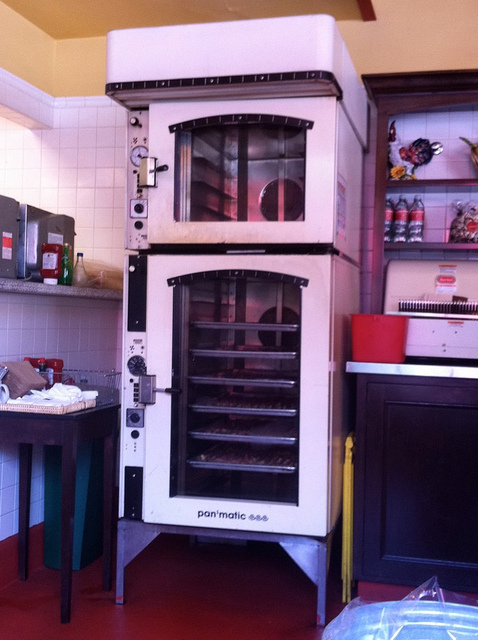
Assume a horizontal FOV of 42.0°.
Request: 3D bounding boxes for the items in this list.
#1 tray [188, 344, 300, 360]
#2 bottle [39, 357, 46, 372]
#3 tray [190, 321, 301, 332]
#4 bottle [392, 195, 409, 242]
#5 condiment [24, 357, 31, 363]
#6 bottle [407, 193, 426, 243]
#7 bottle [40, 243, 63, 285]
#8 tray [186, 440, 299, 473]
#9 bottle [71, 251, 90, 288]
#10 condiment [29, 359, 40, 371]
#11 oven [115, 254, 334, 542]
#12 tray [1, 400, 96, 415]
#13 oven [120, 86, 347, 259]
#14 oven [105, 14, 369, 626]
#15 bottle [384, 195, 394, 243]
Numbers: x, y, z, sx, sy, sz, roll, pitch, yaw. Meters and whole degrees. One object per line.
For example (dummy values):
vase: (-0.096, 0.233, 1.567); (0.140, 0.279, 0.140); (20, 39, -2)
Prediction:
tray: (0.012, 0.113, 2.225); (0.402, 0.043, 0.204); (2, 0, 6)
bottle: (-0.842, 0.190, 2.661); (0.026, 0.057, 0.124); (1, 0, -18)
tray: (0.023, 0.021, 2.212); (0.408, 0.028, 0.139); (1, 0, 31)
bottle: (0.774, -0.474, 2.984); (0.067, 0.266, 0.075); (5, -19, 14)
condiment: (-0.928, 0.167, 2.717); (0.023, 0.029, 0.045); (10, -8, -9)
bottle: (0.849, -0.495, 2.989); (0.080, 0.271, 0.216); (1, 0, 17)
bottle: (-0.826, -0.254, 2.803); (0.091, 0.179, 0.145); (1, 0, 30)
tray: (0.008, 0.502, 2.206); (0.430, 0.080, 0.113); (1, 0, 29)
bottle: (-0.784, -0.249, 3.069); (0.081, 0.167, 0.303); (1, 0, -14)
condiment: (-0.880, 0.191, 2.692); (0.036, 0.047, 0.084); (2, 0, -42)
oven: (-0.051, 0.144, 2.555); (0.823, 1.184, 0.850); (7, 21, 12)
tray: (-0.670, 0.308, 2.221); (0.336, 0.044, 0.160); (2, 0, -26)
oven: (-0.028, -0.547, 2.407); (0.760, 0.677, 0.490); (1, 0, 10)
oven: (-0.022, 0.027, 2.314); (0.822, 1.763, 0.639); (1, 0, 23)
bottle: (0.721, -0.493, 3.000); (0.041, 0.260, 0.190); (1, 0, 14)
